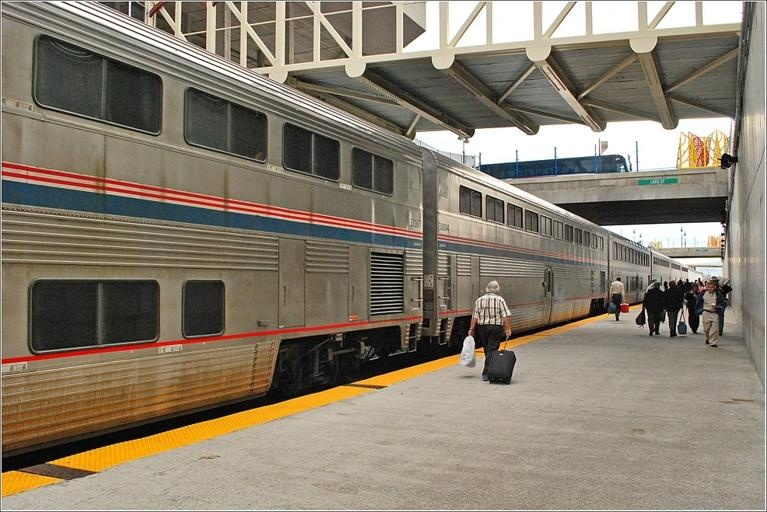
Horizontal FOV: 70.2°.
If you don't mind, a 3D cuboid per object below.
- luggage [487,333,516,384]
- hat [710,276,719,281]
[{"bbox_3d":[2.227,1.951,10.291,0.453,0.861,0.351,9,-37,11],"label":"luggage"},{"bbox_3d":[9.492,0.681,15.683,0.193,0.151,0.565,-5,-5,29],"label":"hat"}]
